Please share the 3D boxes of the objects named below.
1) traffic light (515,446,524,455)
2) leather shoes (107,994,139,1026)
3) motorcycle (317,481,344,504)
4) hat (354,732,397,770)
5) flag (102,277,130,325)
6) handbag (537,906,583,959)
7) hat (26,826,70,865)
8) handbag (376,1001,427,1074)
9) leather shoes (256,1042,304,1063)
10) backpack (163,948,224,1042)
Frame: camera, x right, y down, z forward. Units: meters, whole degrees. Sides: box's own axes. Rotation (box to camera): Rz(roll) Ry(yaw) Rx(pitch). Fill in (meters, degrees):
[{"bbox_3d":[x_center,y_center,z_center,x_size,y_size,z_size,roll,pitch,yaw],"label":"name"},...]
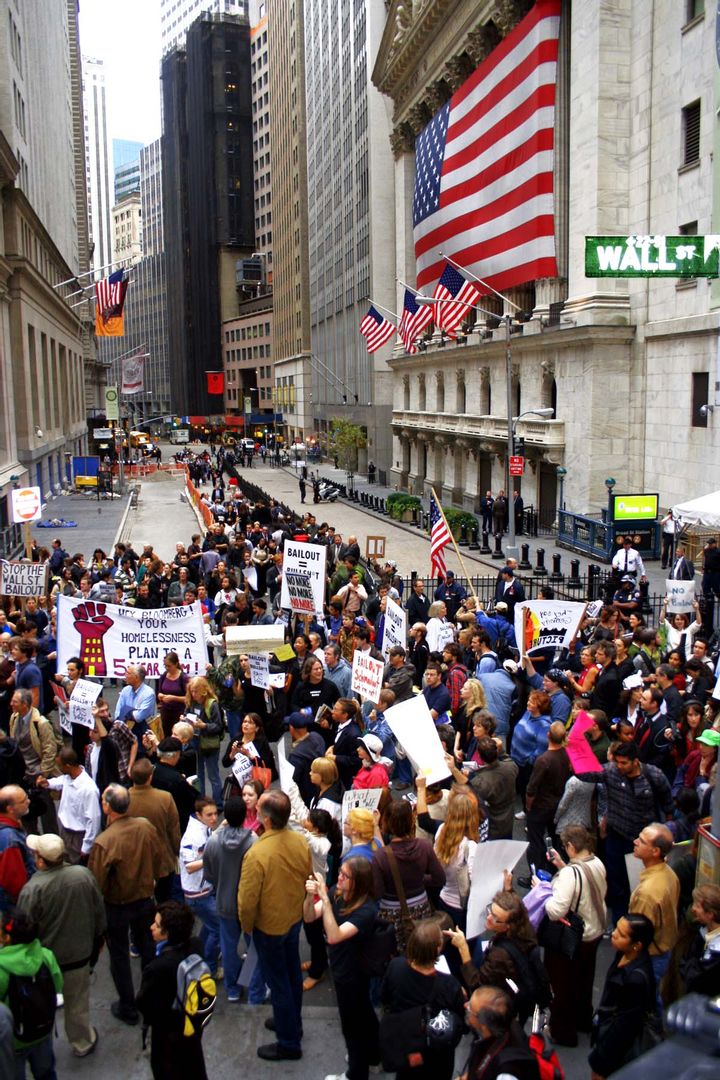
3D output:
[{"bbox_3d":[6.817,-3.805,39.448,0.282,0.325,0.553,0,-1,8],"label":"traffic light"},{"bbox_3d":[-1.725,3.400,6.764,0.324,0.126,0.142,2,2,38],"label":"leather shoes"},{"bbox_3d":[-1.922,-2.931,57.483,0.961,1.153,1.759,-1,-1,22],"label":"motorcycle"},{"bbox_3d":[0.119,1.823,7.993,0.160,0.337,0.623,1,2,14],"label":"hat"},{"bbox_3d":[-11.631,-11.706,43.845,1.048,2.370,1.947,0,2,-19],"label":"flag"},{"bbox_3d":[1.287,2.495,5.939,0.272,0.289,0.148,1,2,15],"label":"handbag"},{"bbox_3d":[-2.021,1.972,5.979,0.198,0.267,0.394,0,2,-20],"label":"hat"},{"bbox_3d":[0.214,2.481,4.566,0.295,0.327,0.111,-6,-8,30],"label":"handbag"},{"bbox_3d":[-0.526,3.393,6.162,0.287,0.129,0.113,4,-6,13],"label":"leather shoes"},{"bbox_3d":[-0.848,2.414,4.917,0.221,0.374,0.176,-10,26,-34],"label":"backpack"}]
